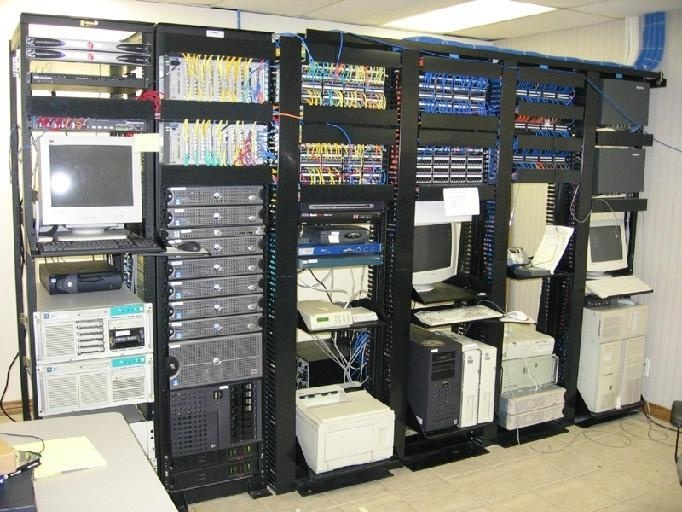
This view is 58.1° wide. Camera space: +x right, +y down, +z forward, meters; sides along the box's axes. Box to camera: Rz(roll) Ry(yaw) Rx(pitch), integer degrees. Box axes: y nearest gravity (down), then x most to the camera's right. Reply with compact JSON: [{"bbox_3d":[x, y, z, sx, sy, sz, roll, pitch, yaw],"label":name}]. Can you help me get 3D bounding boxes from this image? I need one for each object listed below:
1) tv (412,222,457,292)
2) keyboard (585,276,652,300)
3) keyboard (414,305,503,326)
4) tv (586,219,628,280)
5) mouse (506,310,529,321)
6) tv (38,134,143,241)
[{"bbox_3d":[0.681,-0.017,4.515,0.487,0.454,0.255,-6,9,-32],"label":"tv"},{"bbox_3d":[2.278,0.261,5.037,0.583,0.185,0.248,-9,11,-24],"label":"keyboard"},{"bbox_3d":[0.882,0.441,4.517,0.676,0.109,0.264,-7,11,-15],"label":"keyboard"},{"bbox_3d":[2.193,-0.062,5.085,0.498,0.475,0.185,-5,2,-34],"label":"tv"},{"bbox_3d":[1.343,0.449,4.696,0.156,0.037,0.256,-3,10,6],"label":"mouse"},{"bbox_3d":[-1.469,-0.403,3.732,0.606,0.584,0.338,0,0,-5],"label":"tv"}]
